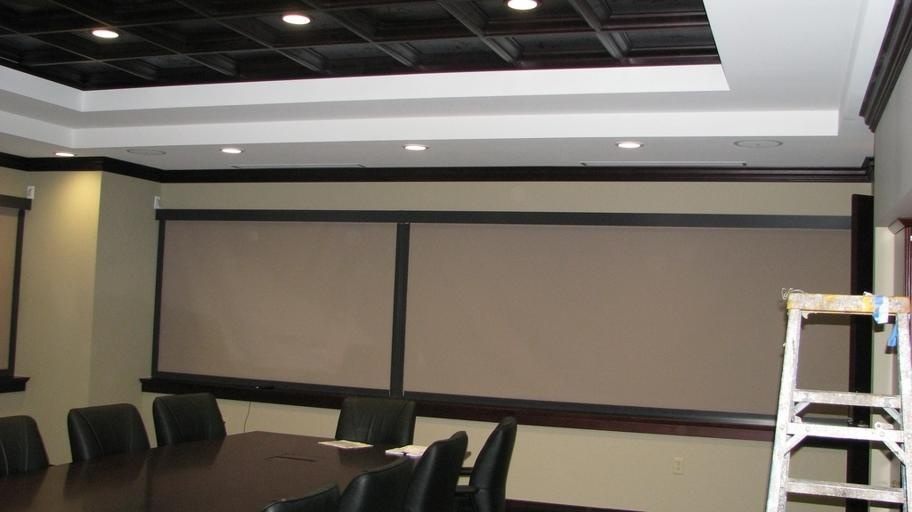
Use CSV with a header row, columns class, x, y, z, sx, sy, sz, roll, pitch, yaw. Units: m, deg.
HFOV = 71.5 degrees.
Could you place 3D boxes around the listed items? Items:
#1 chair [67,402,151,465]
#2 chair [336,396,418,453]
class,x,y,z,sx,sy,sz,roll,pitch,yaw
chair,-3.029,1.557,5.652,0.577,0.699,0.583,14,-29,-41
chair,-0.747,1.696,6.403,0.526,0.632,0.543,1,-21,10
